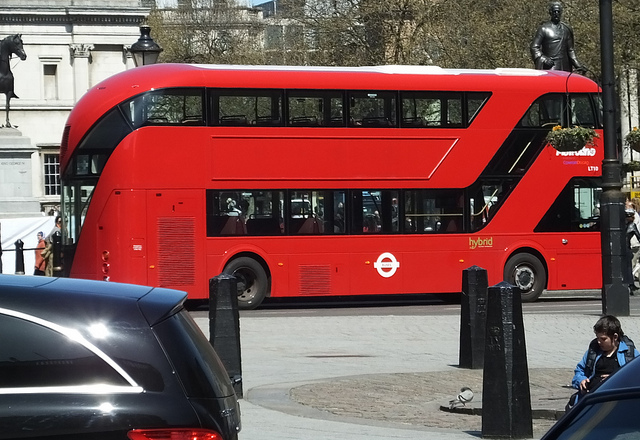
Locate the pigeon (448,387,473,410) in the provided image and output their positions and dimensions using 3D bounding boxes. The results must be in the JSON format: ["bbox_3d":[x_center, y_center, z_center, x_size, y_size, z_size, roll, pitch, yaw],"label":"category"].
[{"bbox_3d":[2.821,3.588,29.640,0.462,0.381,0.344,0,7,4],"label":"pigeon"}]
